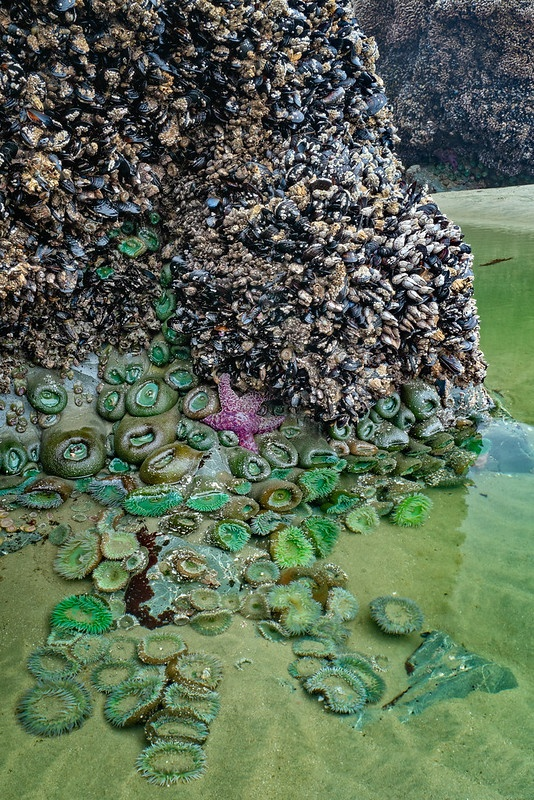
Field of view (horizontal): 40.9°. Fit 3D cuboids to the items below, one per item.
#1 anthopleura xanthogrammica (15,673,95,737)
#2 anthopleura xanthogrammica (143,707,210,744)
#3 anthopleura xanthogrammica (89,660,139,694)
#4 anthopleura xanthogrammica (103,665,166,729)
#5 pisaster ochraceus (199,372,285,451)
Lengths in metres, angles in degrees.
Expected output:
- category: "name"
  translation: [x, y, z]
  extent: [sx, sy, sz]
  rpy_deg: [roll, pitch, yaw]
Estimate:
- category: "anthopleura xanthogrammica"
  translation: [-1.125, 1.640, 3.815]
  extent: [0.374, 0.066, 0.320]
  rpy_deg: [1, 25, -16]
- category: "anthopleura xanthogrammica"
  translation: [-0.483, 1.732, 3.787]
  extent: [0.231, 0.076, 0.153]
  rpy_deg: [13, 32, -10]
- category: "anthopleura xanthogrammica"
  translation: [-0.866, 1.552, 4.044]
  extent: [0.165, 0.033, 0.136]
  rpy_deg: [-6, 27, -12]
- category: "anthopleura xanthogrammica"
  translation: [-0.721, 1.631, 3.904]
  extent: [0.246, 0.080, 0.189]
  rpy_deg: [-30, 34, -29]
- category: "pisaster ochraceus"
  translation: [-0.219, 0.122, 6.122]
  extent: [0.595, 0.172, 0.634]
  rpy_deg: [36, 57, -12]
